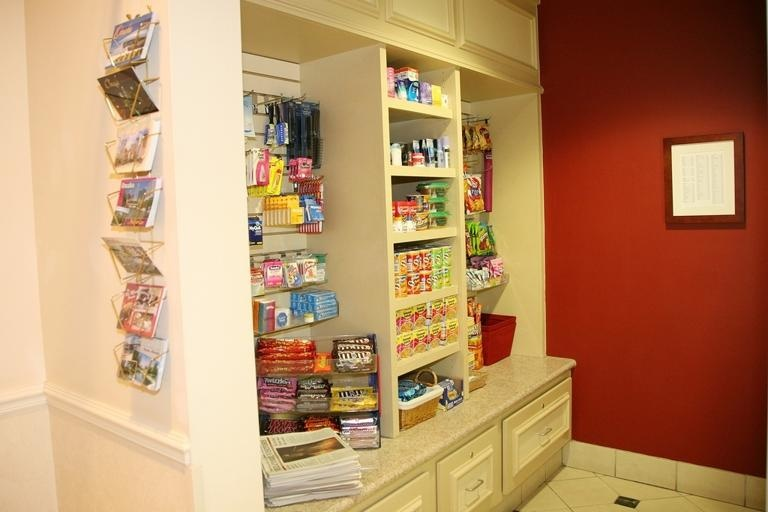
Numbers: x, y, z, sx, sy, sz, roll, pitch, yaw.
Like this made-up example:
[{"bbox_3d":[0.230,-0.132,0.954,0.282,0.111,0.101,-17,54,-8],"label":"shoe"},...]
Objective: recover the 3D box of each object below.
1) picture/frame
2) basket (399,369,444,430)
[{"bbox_3d":[2.157,-0.518,3.837,0.616,0.482,0.041,-3,2,38],"label":"picture/frame"},{"bbox_3d":[0.187,0.846,3.428,0.225,0.213,0.316,-1,1,38],"label":"basket"}]
